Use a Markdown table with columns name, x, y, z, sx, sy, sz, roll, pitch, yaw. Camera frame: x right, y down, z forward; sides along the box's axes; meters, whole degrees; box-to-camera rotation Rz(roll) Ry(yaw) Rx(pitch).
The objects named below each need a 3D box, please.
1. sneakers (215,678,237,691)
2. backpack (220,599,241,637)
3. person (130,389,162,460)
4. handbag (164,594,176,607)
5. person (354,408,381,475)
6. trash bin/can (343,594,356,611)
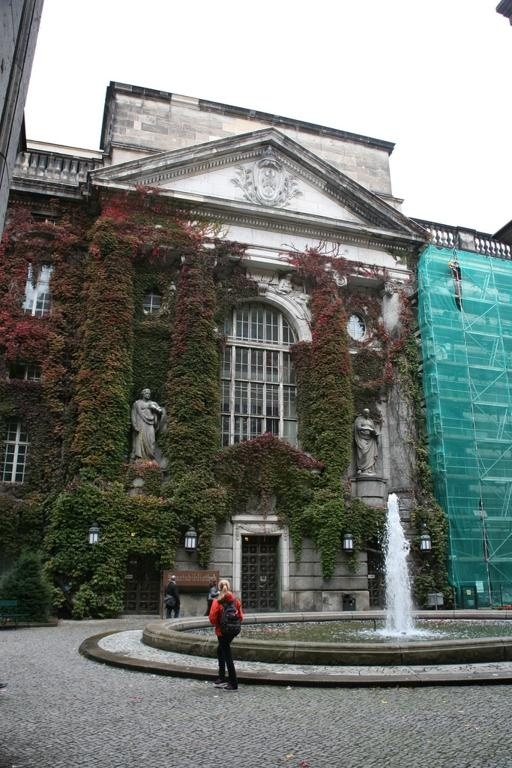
| name | x | y | z | sx | sy | sz | roll | pitch | yaw |
| --- | --- | --- | --- | --- | --- | --- | --- | --- | --- |
| sneakers | -0.430 | 4.121 | 9.303 | 0.206 | 0.129 | 0.472 | 7 | -19 | -21 |
| backpack | -0.372 | 3.222 | 9.327 | 0.377 | 0.537 | 0.302 | 7 | -45 | -14 |
| person | -4.016 | 1.507 | 24.699 | 1.146 | 2.731 | 0.628 | 3 | -19 | -10 |
| handbag | -2.488 | 6.122 | 19.228 | 0.292 | 0.463 | 0.372 | 8 | -18 | -19 |
| person | 4.608 | 2.449 | 28.252 | 1.054 | 2.885 | 0.736 | 4 | -19 | -11 |
| trash bin/can | 3.403 | 8.053 | 24.983 | 0.532 | 0.706 | 0.511 | 0 | -7 | -5 |
